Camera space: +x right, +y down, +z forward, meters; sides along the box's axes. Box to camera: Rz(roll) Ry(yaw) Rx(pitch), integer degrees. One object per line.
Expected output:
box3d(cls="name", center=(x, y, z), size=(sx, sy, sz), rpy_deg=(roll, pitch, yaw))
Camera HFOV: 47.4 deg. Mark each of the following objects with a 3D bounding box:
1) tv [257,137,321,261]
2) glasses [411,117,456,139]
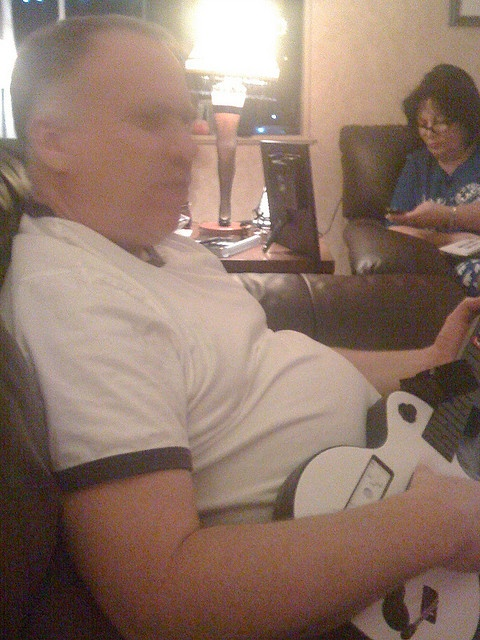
box3d(cls="tv", center=(0.095, -0.266, 1.238), size=(0.087, 0.245, 0.258), rpy_deg=(-12, 23, -18))
box3d(cls="glasses", center=(0.677, -0.670, 1.894), size=(0.090, 0.033, 0.084), rpy_deg=(-11, 13, -38))
